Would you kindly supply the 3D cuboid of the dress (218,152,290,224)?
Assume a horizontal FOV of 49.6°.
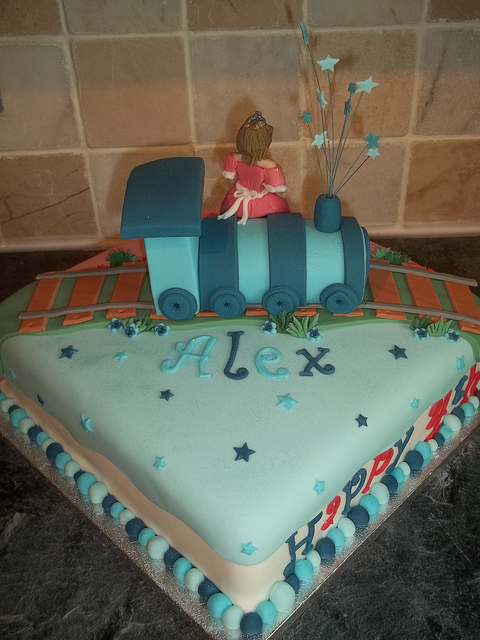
[{"bbox_3d":[0.050,-0.615,2.317,0.313,0.321,0.209,14,52,12],"label":"dress"}]
